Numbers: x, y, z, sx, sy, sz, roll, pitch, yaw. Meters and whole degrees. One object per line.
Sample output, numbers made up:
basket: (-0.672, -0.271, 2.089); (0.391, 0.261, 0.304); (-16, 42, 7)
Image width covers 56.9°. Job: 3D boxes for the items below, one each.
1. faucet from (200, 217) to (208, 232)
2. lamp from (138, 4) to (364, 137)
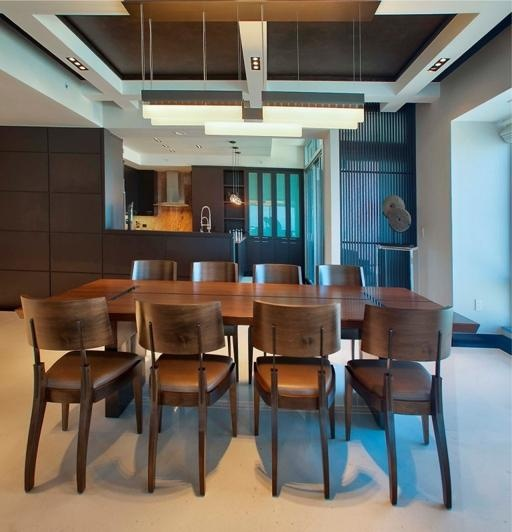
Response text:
faucet: (-1.037, -0.838, 9.554); (0.205, 0.318, 0.456); (-1, 13, -7)
lamp: (0.086, -1.509, 3.825); (1.528, 0.887, 1.619); (3, 14, 13)
